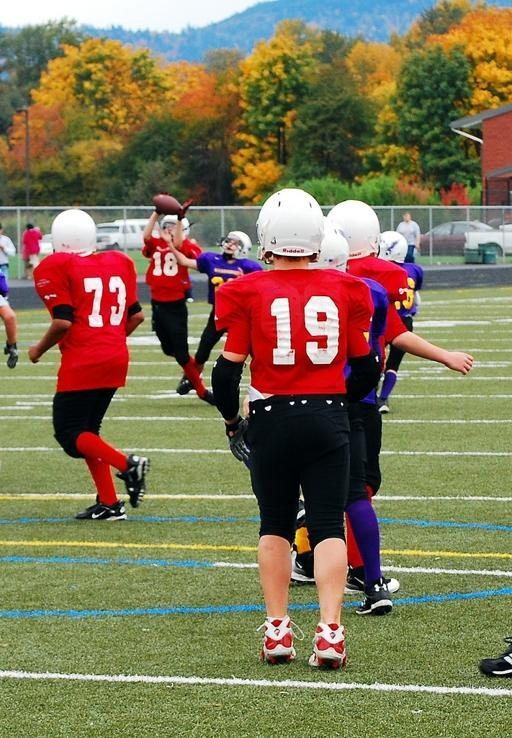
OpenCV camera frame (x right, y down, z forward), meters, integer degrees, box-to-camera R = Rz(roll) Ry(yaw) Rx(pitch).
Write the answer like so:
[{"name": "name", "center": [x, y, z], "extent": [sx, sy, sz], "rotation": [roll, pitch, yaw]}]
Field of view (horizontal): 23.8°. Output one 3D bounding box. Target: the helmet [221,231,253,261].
[{"name": "helmet", "center": [-0.165, -1.072, 10.535], "extent": [0.193, 0.200, 0.262], "rotation": [33, 9, 25]}]

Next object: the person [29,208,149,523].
[{"name": "person", "center": [-0.854, -0.014, 6.078], "extent": [0.556, 1.562, 0.562], "rotation": [-3, 5, -9]}]

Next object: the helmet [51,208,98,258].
[{"name": "helmet", "center": [-0.932, -0.688, 6.149], "extent": [0.208, 0.226, 0.251], "rotation": [-1, 20, -11]}]

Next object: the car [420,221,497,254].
[{"name": "car", "center": [5.040, -3.364, 31.461], "extent": [1.599, 0.655, 0.754], "rotation": [2, 5, -4]}]

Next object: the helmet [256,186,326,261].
[{"name": "helmet", "center": [0.109, -0.472, 3.992], "extent": [0.197, 0.188, 0.248], "rotation": [2, 14, -2]}]

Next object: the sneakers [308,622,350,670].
[{"name": "sneakers", "center": [0.223, 0.863, 3.759], "extent": [0.084, 0.095, 0.188], "rotation": [0, -5, 2]}]

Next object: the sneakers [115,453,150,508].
[{"name": "sneakers", "center": [-0.610, 0.541, 5.981], "extent": [0.180, 0.314, 0.108], "rotation": [4, 31, 8]}]

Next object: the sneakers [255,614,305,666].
[{"name": "sneakers", "center": [0.069, 0.872, 3.954], "extent": [0.103, 0.103, 0.204], "rotation": [-2, -2, 2]}]

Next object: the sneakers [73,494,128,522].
[{"name": "sneakers", "center": [-0.775, 0.727, 6.207], "extent": [0.300, 0.138, 0.096], "rotation": [2, -5, 4]}]

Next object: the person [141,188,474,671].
[{"name": "person", "center": [0.113, 0.179, 3.951], "extent": [0.512, 1.529, 0.504], "rotation": [0, 6, 15]}]

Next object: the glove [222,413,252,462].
[{"name": "glove", "center": [-0.061, 0.242, 4.147], "extent": [0.065, 0.180, 0.080], "rotation": [-18, 2, -1]}]

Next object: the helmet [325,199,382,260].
[{"name": "helmet", "center": [0.379, -0.553, 4.868], "extent": [0.211, 0.211, 0.245], "rotation": [13, 32, 28]}]

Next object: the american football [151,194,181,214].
[{"name": "american football", "center": [-0.753, -1.367, 10.244], "extent": [0.253, 0.154, 0.165], "rotation": [23, 1, -21]}]
